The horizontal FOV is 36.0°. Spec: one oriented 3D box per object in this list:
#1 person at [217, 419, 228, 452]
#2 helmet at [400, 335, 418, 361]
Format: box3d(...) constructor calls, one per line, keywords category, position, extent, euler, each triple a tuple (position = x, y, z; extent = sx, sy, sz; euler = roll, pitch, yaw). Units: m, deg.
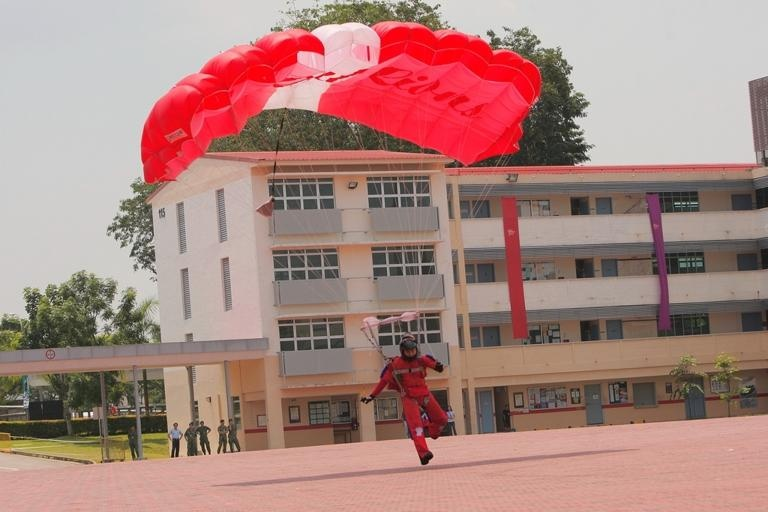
box3d(category="person", position=(-6.994, 7.739, 51.043), extent=(0.495, 1.433, 2.975), euler=(-5, -4, -9))
box3d(category="helmet", position=(0.661, 2.491, 32.342), extent=(0.513, 0.594, 0.595), euler=(1, 7, -4))
